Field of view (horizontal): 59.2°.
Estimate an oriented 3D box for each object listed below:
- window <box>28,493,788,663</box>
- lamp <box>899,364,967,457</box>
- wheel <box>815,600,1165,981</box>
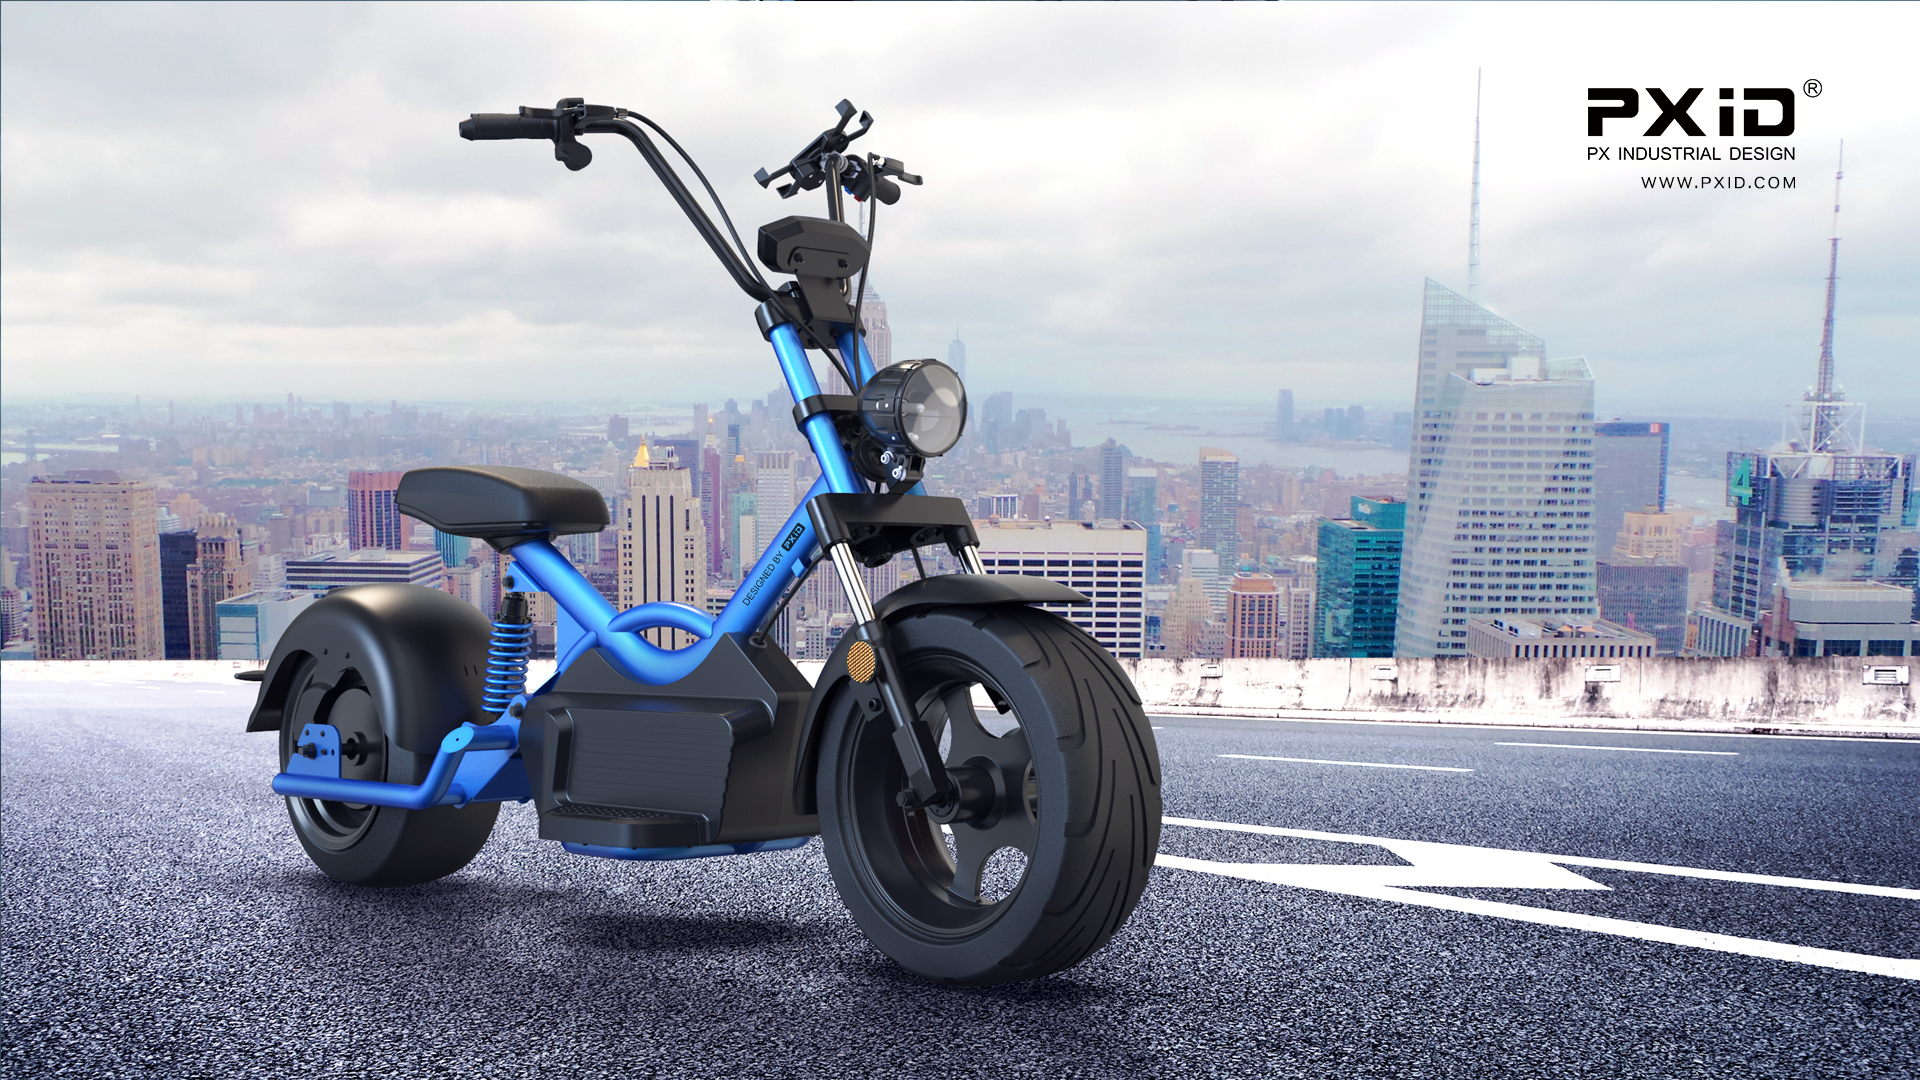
[{"bbox_3d":[-4.026,0.206,12.272,5.857,1.799,1.573,0,4,-5],"label":"window"},{"bbox_3d":[-0.174,-0.733,9.566,0.317,0.398,0.456,-2,-23,35],"label":"lamp"},{"bbox_3d":[0.178,1.498,9.950,1.052,2.186,2.457,2,-1,-38],"label":"wheel"}]
